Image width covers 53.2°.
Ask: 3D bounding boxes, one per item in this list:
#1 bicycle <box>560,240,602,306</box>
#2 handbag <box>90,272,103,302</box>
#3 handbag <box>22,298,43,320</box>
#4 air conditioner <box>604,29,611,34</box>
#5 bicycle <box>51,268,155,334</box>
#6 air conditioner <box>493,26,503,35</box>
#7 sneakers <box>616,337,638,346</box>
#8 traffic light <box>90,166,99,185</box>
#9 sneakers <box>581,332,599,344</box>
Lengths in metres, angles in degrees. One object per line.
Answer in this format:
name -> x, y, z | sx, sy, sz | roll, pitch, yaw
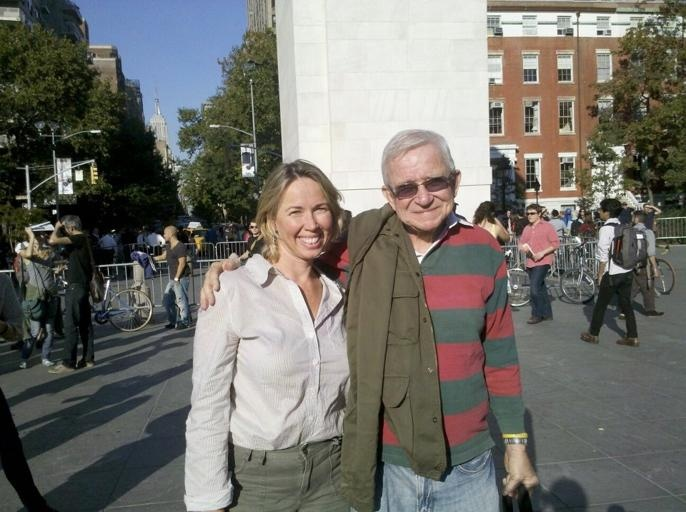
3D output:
bicycle -> 5.788, 0.327, 16.784 | 0.891, 1.161, 3.799 | -2, 4, 20
handbag -> -4.146, 0.519, 11.522 | 0.187, 0.527, 0.347 | -4, 4, -21
handbag -> -5.345, 0.921, 11.823 | 0.359, 0.373, 0.210 | -3, 4, -2
air conditioner -> 16.246, -13.604, 41.917 | 0.403, 0.383, 0.109 | -5, 4, -17
bicycle -> -5.250, 0.994, 15.169 | 2.207, 1.587, 1.178 | 4, -2, -5
air conditioner -> 9.085, -13.139, 40.196 | 0.444, 0.477, 0.183 | 0, -2, 2
sneakers -> 4.653, 1.388, 11.205 | 0.129, 0.166, 0.328 | -2, 6, -32
traffic light -> -13.518, -4.321, 37.186 | 0.310, 1.310, 1.203 | -6, -2, -21
sneakers -> 4.147, 1.342, 11.514 | 0.122, 0.159, 0.327 | -7, 16, -13
